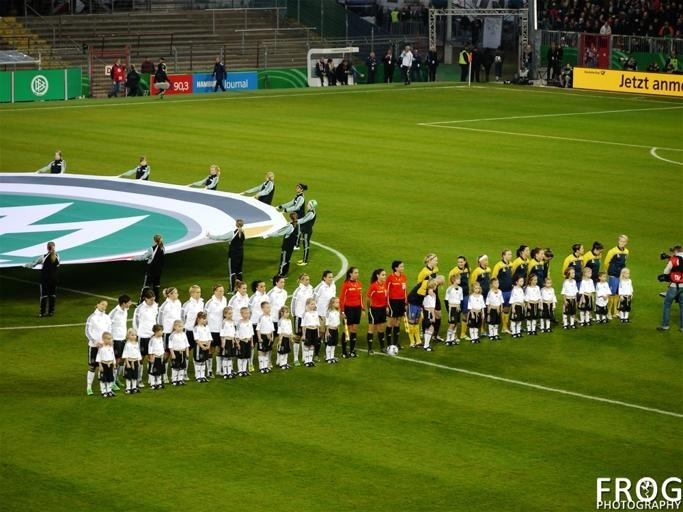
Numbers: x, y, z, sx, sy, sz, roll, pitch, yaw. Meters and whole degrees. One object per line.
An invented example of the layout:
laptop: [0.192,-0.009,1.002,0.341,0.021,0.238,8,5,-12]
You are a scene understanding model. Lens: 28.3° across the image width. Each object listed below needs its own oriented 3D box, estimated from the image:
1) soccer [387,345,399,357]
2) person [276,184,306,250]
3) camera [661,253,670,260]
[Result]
soccer: [1.468,2.733,38.871,0.235,0.248,0.302,3,29,-5]
person: [-1.828,-1.509,47.292,1.130,2.334,1.213,0,30,3]
camera: [9.911,0.012,41.668,0.401,0.149,0.216,2,-2,-21]
